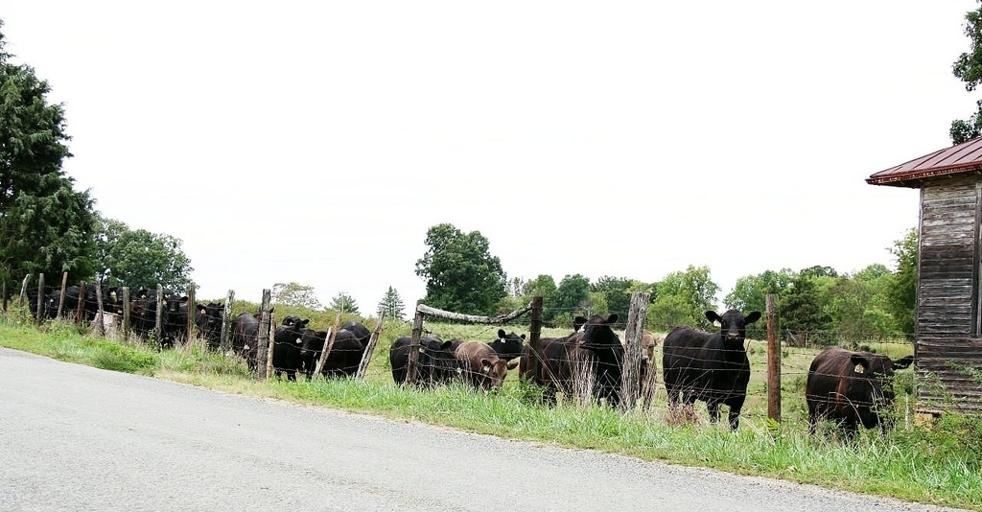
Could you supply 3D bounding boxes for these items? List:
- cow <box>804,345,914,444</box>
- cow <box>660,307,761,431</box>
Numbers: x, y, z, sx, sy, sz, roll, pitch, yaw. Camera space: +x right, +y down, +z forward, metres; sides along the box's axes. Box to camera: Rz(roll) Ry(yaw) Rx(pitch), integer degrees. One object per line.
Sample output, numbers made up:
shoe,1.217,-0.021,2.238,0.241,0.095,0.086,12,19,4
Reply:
cow,11.966,4.541,24.508,2.000,2.788,3.084,-3,10,-27
cow,7.920,3.906,26.827,2.111,4.450,4.177,-1,9,-14
